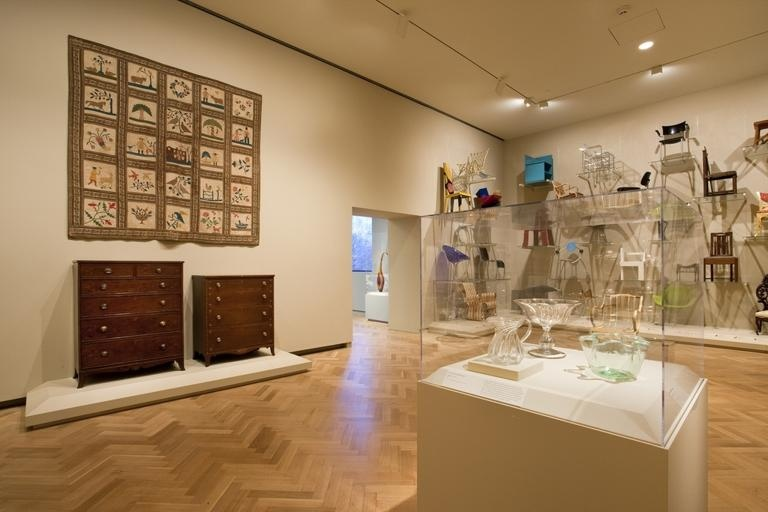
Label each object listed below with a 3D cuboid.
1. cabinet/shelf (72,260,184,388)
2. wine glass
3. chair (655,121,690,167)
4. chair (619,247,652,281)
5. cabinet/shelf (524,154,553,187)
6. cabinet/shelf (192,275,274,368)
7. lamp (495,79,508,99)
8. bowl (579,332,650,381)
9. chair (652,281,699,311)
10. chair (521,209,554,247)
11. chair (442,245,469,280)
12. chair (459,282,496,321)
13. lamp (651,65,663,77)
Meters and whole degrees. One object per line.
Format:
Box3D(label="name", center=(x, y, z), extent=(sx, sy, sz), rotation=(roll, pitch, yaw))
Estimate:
Box3D(label="cabinet/shelf", center=(-2.769, 0.612, 5.309), extent=(1.021, 1.309, 0.501), rotation=(-1, 17, -31))
Box3D(label="wine glass", center=(1.109, 0.463, 3.306), extent=(0.383, 0.319, 0.392), rotation=(-2, -3, 28))
Box3D(label="chair", center=(4.736, -1.877, 7.989), extent=(0.505, 0.740, 0.684), rotation=(-1, -1, 31))
Box3D(label="chair", center=(1.552, 0.058, 3.025), extent=(0.192, 0.286, 0.189), rotation=(-1, -6, 31))
Box3D(label="cabinet/shelf", center=(2.991, -1.676, 9.574), extent=(0.543, 0.781, 0.580), rotation=(0, 2, 45))
Box3D(label="cabinet/shelf", center=(-1.799, 0.721, 5.917), extent=(0.821, 0.972, 0.532), rotation=(0, -1, -31))
Box3D(label="lamp", center=(1.783, -2.599, 7.500), extent=(0.070, 0.202, 0.299), rotation=(14, 8, 18))
Box3D(label="bowl", center=(1.459, 0.643, 3.101), extent=(0.309, 0.220, 0.318), rotation=(0, -1, 0))
Box3D(label="chair", center=(1.880, 0.261, 3.148), extent=(0.242, 0.118, 0.277), rotation=(3, 23, 20))
Box3D(label="chair", center=(1.017, -0.174, 3.278), extent=(0.223, 0.270, 0.231), rotation=(-3, -3, 42))
Box3D(label="chair", center=(0.436, 0.033, 3.342), extent=(0.165, 0.195, 0.189), rotation=(-6, -6, -41))
Box3D(label="chair", center=(0.662, 0.312, 3.395), extent=(0.177, 0.258, 0.206), rotation=(1, -4, -42))
Box3D(label="lamp", center=(4.075, -2.765, 7.297), extent=(0.157, 0.109, 0.082), rotation=(-4, -10, 31))
